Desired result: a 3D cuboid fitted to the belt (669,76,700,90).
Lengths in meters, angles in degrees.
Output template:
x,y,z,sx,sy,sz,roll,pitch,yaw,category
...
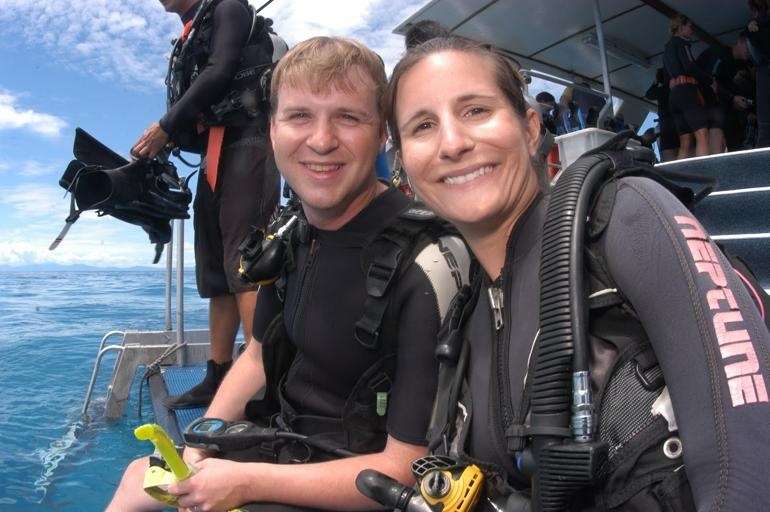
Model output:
x,y,z,sx,sy,sz,roll,pitch,yaw,category
4.024,-2.320,7.322,0.195,0.104,0.147,7,-7,-6,belt
